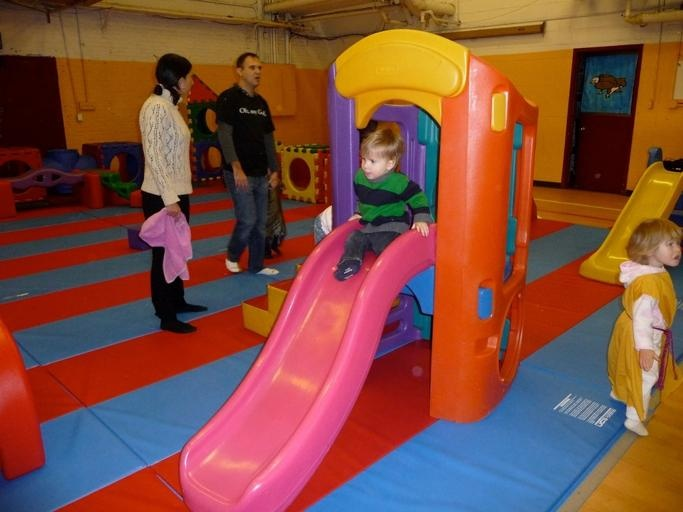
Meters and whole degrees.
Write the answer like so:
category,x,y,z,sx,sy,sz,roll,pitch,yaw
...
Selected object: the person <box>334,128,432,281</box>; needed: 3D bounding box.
category,x,y,z,sx,sy,sz,roll,pitch,yaw
person,0.239,-0.300,3.227,0.548,0.764,0.622,19,53,36
